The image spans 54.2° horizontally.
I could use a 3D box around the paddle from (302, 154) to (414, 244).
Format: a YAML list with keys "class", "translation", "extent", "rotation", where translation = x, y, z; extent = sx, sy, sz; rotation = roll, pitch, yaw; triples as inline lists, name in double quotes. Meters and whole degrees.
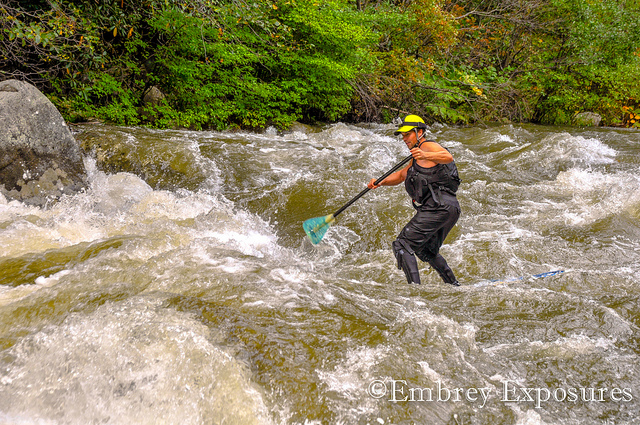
- class: "paddle"
  translation: [0.706, -0.273, 11.455]
  extent: [0.112, 2.676, 0.509]
  rotation: [2, 55, -56]
